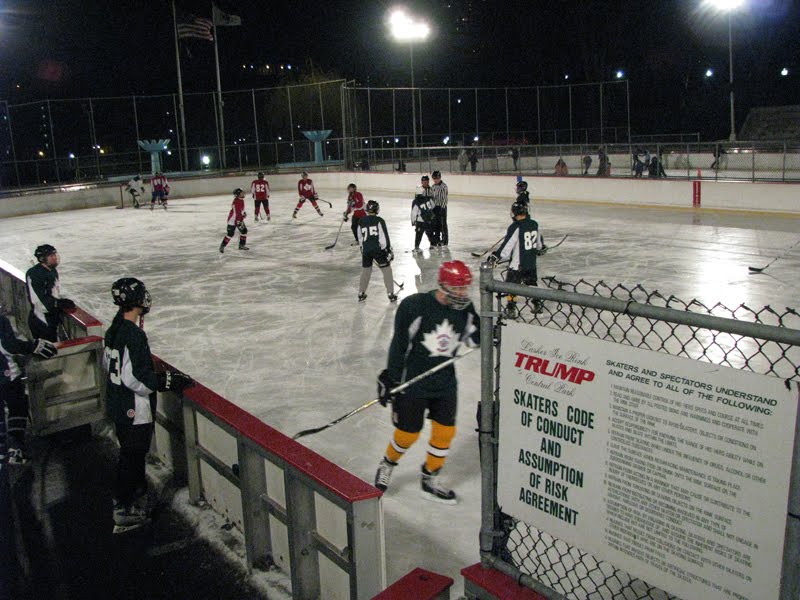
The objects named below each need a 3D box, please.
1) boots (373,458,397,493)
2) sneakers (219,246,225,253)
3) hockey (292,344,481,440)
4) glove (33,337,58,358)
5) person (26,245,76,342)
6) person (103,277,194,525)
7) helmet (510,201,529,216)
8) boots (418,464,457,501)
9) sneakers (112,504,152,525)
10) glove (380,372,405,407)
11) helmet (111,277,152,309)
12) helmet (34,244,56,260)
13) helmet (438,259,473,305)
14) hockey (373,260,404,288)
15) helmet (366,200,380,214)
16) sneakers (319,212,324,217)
[{"bbox_3d":[-0.125,1.378,5.125,0.176,0.343,0.382,-3,14,-3],"label":"boots"},{"bbox_3d":[-4.237,-1.200,14.906,0.077,0.187,0.244,2,0,-17],"label":"sneakers"},{"bbox_3d":[-0.124,0.892,5.869,1.790,0.153,0.141,-34,24,-3],"label":"hockey"},{"bbox_3d":[-3.165,0.415,5.609,0.186,0.154,0.076,19,36,40],"label":"glove"},{"bbox_3d":[-4.599,-0.063,8.308,0.470,1.468,0.608,-7,56,-32],"label":"person"},{"bbox_3d":[-2.180,0.920,5.478,0.787,2.344,0.796,-15,33,-43],"label":"person"},{"bbox_3d":[1.704,-1.285,8.963,0.184,0.254,0.249,-3,10,0],"label":"helmet"},{"bbox_3d":[0.292,1.441,5.061,0.373,0.261,0.151,5,4,28],"label":"boots"},{"bbox_3d":[-2.032,1.607,4.727,0.154,0.107,0.205,8,8,26],"label":"sneakers"},{"bbox_3d":[-0.088,0.693,4.690,0.159,0.077,0.243,-12,57,-1],"label":"glove"},{"bbox_3d":[-2.033,-0.037,4.778,0.266,0.263,0.235,-12,16,-35],"label":"helmet"},{"bbox_3d":[-4.085,-0.546,7.246,0.180,0.170,0.426,-11,17,-33],"label":"helmet"},{"bbox_3d":[0.389,-0.117,4.462,0.214,0.305,0.229,-2,13,3],"label":"helmet"},{"bbox_3d":[-0.217,-0.458,11.489,0.403,0.529,0.153,20,54,44],"label":"hockey"},{"bbox_3d":[-0.428,-1.417,9.815,0.166,0.224,0.384,-3,14,-3],"label":"helmet"},{"bbox_3d":[-2.616,-2.841,20.972,0.107,0.074,0.113,19,-16,3],"label":"sneakers"}]
